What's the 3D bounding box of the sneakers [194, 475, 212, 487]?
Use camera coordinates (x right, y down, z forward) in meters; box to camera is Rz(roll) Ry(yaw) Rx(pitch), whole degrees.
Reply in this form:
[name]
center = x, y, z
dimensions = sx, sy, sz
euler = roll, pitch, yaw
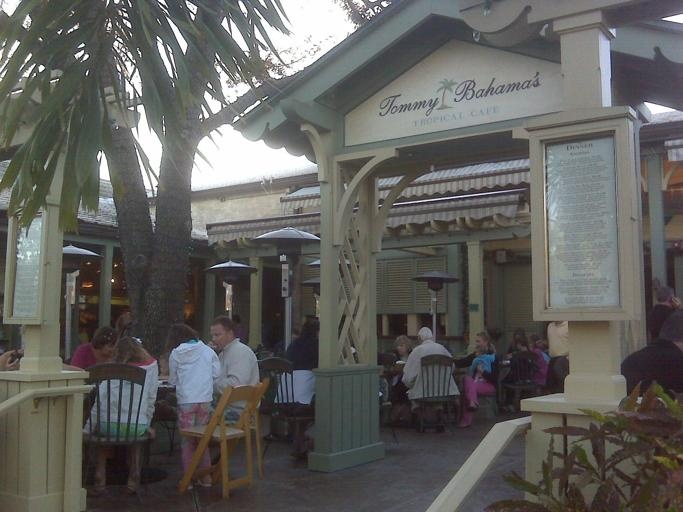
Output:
[sneakers]
center = -1.347, 2.161, 6.674
dimensions = 0.091, 0.126, 0.264
euler = 6, -11, -44
